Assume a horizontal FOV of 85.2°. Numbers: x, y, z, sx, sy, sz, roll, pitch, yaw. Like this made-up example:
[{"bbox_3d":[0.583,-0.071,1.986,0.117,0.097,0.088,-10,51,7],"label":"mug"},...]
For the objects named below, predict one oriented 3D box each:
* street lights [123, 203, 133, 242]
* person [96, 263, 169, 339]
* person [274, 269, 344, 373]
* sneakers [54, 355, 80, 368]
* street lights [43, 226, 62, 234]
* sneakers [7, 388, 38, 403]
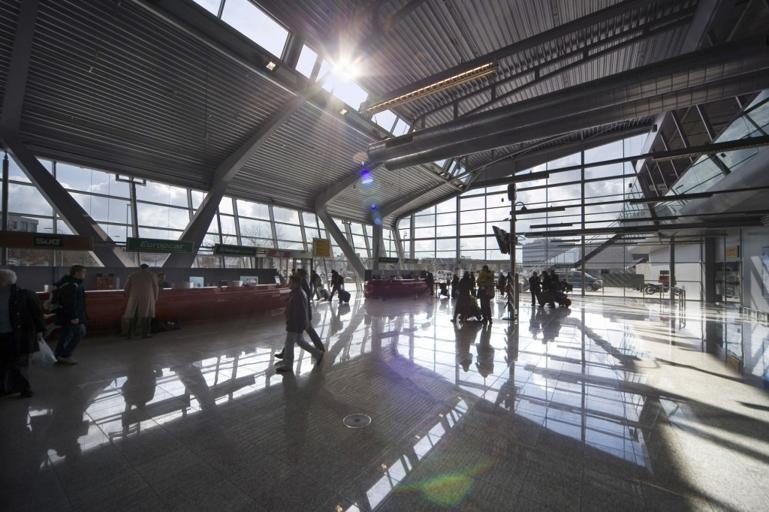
[{"bbox_3d":[-10.583,-1.480,17.150,0.307,1.532,0.459,0,1,7],"label":"street lights"},{"bbox_3d":[-6.452,1.142,11.011,0.805,1.880,0.958,0,1,-32],"label":"person"},{"bbox_3d":[-1.846,1.354,9.185,1.002,2.072,1.066,0,1,-10],"label":"person"},{"bbox_3d":[-6.862,2.248,8.978,0.462,0.195,0.185,0,1,-6],"label":"sneakers"},{"bbox_3d":[-12.441,-1.006,15.637,0.565,0.197,0.294,-1,2,-31],"label":"street lights"},{"bbox_3d":[-6.785,2.602,7.815,0.548,0.181,0.214,4,-22,-35],"label":"sneakers"}]
